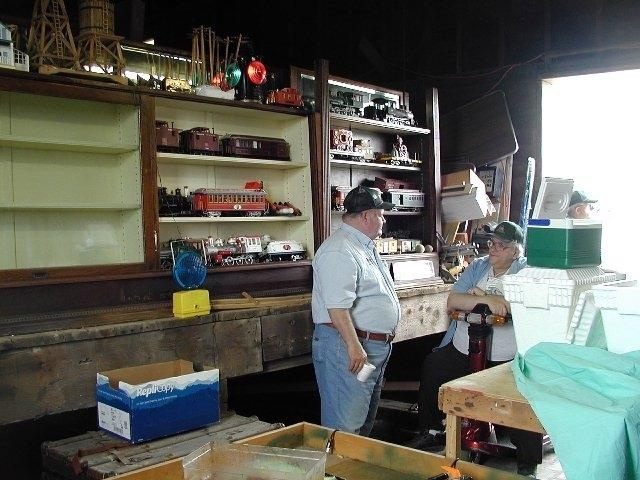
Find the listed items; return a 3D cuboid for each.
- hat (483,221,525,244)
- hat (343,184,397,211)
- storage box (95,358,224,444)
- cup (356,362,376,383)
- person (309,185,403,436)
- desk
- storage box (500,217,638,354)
[{"bbox_3d":[1.535,-0.062,3.896,0.254,0.142,0.164,22,5,-8],"label":"hat"},{"bbox_3d":[0.319,-0.269,3.066,0.261,0.140,0.161,-9,10,-10],"label":"hat"},{"bbox_3d":[-0.841,0.761,2.354,0.434,0.218,0.325,-9,-8,-31],"label":"storage box"},{"bbox_3d":[0.274,0.795,2.849,0.109,0.108,0.103,29,1,-1],"label":"cup"},{"bbox_3d":[0.247,0.507,2.971,0.570,1.682,0.411,-3,4,-10],"label":"person"},{"bbox_3d":[0.624,0.652,1.768,0.332,0.255,0.394,-2,4,14],"label":"desk"},{"bbox_3d":[1.019,0.180,2.102,0.413,0.647,0.628,1,2,43],"label":"storage box"}]
